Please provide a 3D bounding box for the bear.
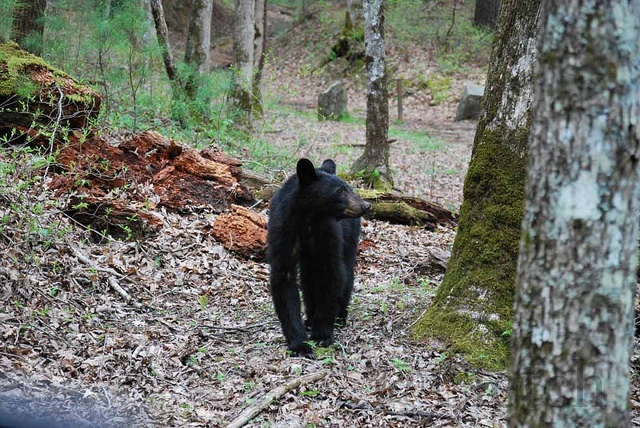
[{"bbox_3d":[-0.101,0.465,7.573,1.057,2.202,0.838,5,12,-5],"label":"bear"}]
